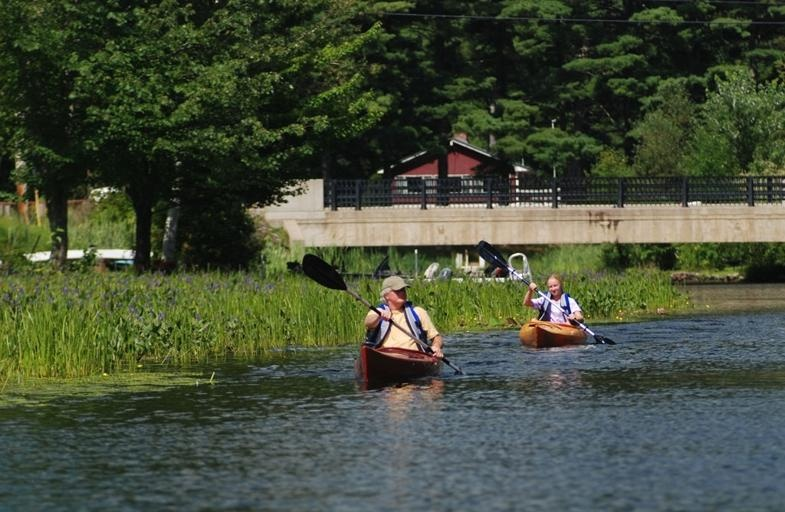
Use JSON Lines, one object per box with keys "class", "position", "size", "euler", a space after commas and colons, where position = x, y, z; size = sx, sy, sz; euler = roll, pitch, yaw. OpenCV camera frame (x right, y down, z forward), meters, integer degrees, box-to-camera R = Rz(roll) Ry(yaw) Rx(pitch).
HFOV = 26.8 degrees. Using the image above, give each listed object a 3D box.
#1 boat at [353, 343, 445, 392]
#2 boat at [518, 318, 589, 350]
{"class": "boat", "position": [0.533, 3.059, 47.267], "size": [2.863, 0.793, 0.996], "euler": [0, 10, -20]}
{"class": "boat", "position": [5.028, 2.390, 50.583], "size": [1.839, 0.877, 0.564], "euler": [-3, 0, -6]}
